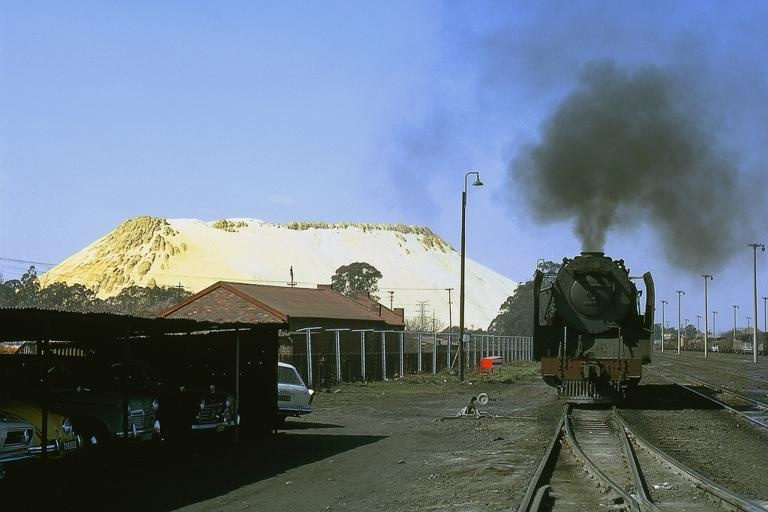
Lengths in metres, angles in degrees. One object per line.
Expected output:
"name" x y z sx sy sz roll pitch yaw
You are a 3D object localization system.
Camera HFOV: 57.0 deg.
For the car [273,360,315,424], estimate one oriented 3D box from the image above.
"car" -2.876 4.142 21.727 1.197 1.652 0.686 6 -12 -36
